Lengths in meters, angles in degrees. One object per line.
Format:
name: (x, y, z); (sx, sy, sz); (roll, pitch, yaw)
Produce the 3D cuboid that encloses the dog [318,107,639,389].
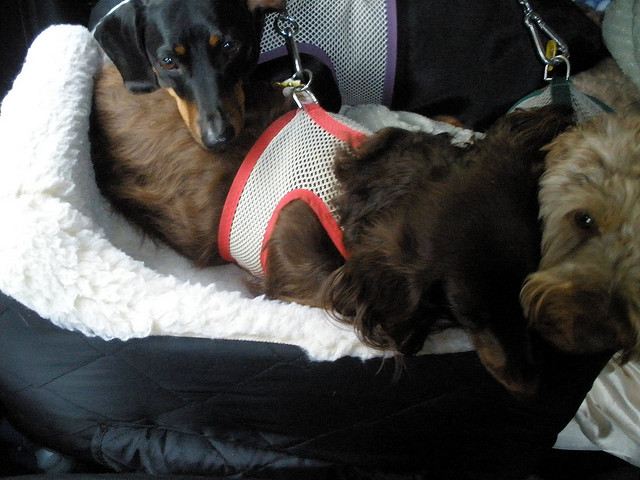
dog: (0.288, -0.004, 1.361); (0.556, 0.420, 0.419); (8, 53, -1)
